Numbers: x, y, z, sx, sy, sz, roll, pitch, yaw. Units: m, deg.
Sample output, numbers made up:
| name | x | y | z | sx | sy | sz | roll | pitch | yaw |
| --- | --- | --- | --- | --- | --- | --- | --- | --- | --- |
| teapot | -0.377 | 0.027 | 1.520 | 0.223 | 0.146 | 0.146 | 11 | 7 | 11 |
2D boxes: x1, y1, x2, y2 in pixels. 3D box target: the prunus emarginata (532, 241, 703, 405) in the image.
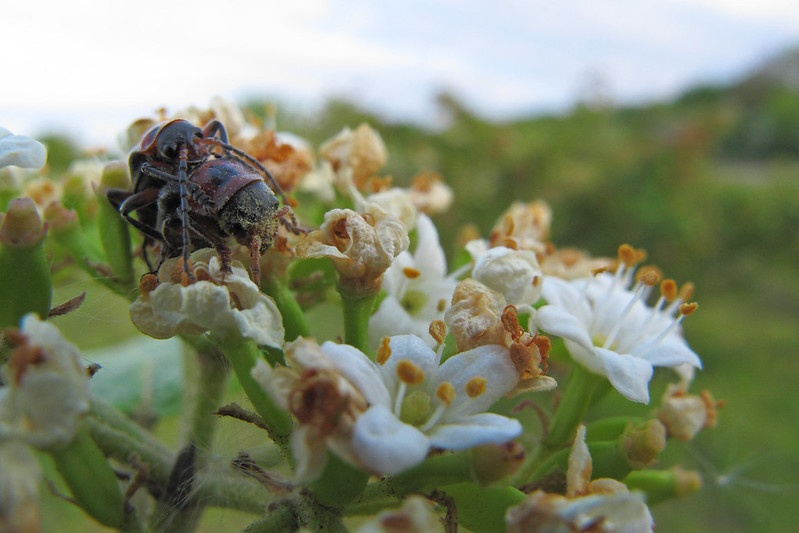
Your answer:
| name | x | y | z | sx | sy | sz | roll | pitch | yaw |
| --- | --- | --- | --- | --- | --- | --- | --- | --- | --- |
| prunus emarginata | 0.672 | 0.139 | 2.720 | 0.489 | 0.333 | 0.583 | 14 | 21 | 17 |
